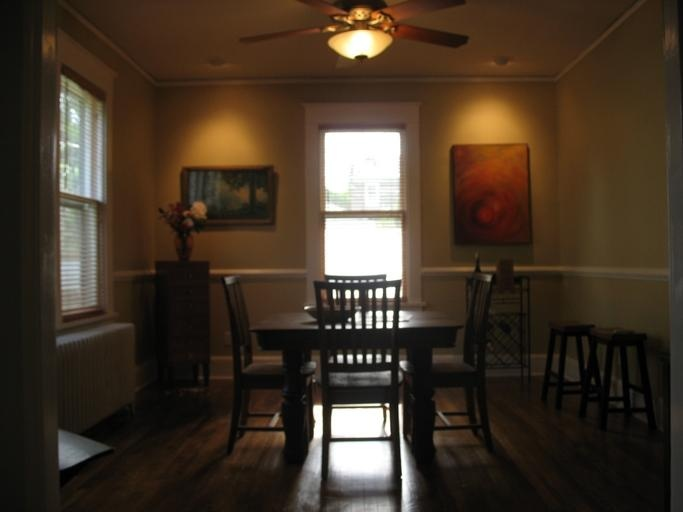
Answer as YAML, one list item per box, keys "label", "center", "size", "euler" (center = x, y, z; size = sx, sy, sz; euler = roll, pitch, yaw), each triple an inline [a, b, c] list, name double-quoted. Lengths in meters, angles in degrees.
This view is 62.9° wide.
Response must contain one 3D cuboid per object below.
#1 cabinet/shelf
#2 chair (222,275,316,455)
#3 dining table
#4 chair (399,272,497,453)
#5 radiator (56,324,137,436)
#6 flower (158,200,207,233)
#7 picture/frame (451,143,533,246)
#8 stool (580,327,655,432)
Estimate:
- label: "cabinet/shelf"
  center: [-1.454, 0.609, 5.079]
  size: [0.510, 1.132, 0.322]
  euler: [-1, 5, -5]
- label: "chair"
  center: [-0.491, 0.743, 3.903]
  size: [0.585, 1.150, 0.585]
  euler: [-1, -2, -4]
- label: "dining table"
  center: [0.116, 1.029, 3.940]
  size: [1.299, 1.043, 0.852]
  euler: [0, -2, 0]
- label: "chair"
  center: [0.722, 0.714, 3.914]
  size: [0.597, 1.185, 0.598]
  euler: [-2, -3, -6]
- label: "radiator"
  center: [-1.821, 0.899, 4.105]
  size: [0.226, 0.685, 0.734]
  euler: [-3, 1, 12]
- label: "flower"
  center: [-1.463, -0.400, 5.131]
  size: [0.345, 0.272, 0.354]
  euler: [14, 3, -44]
- label: "picture/frame"
  center: [1.472, -0.600, 5.460]
  size: [0.821, 1.230, 0.116]
  euler: [-1, -3, 1]
- label: "stool"
  center: [2.026, 0.869, 4.196]
  size: [0.480, 0.689, 0.618]
  euler: [0, 6, 3]
